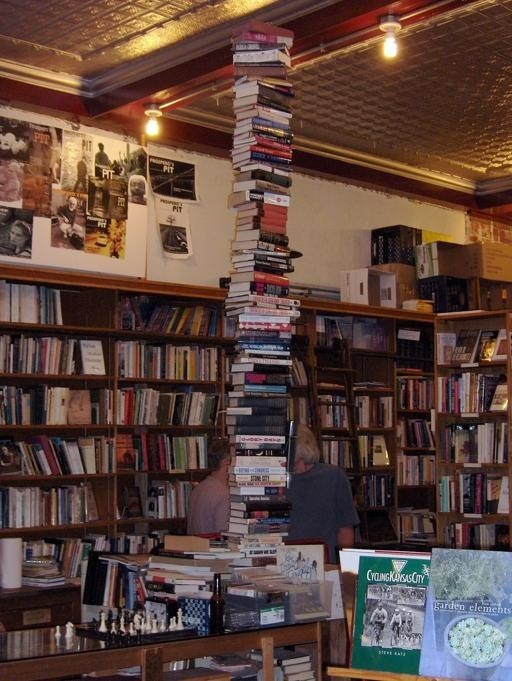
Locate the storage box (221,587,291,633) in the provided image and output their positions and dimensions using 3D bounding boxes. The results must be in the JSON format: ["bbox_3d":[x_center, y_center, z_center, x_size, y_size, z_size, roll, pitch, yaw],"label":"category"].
[{"bbox_3d":[-0.008,0.850,2.112,0.248,0.100,0.174,3,-4,-39],"label":"storage box"}]
